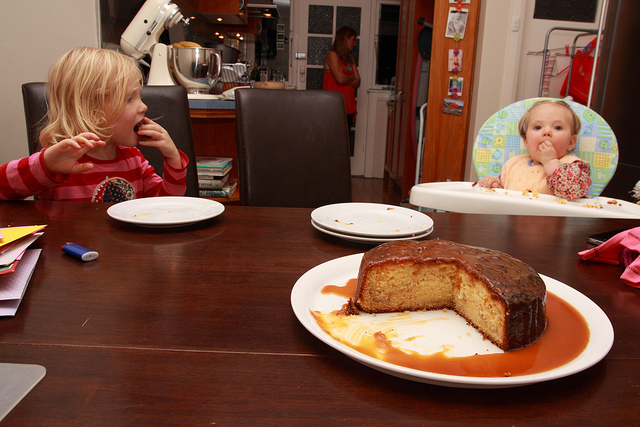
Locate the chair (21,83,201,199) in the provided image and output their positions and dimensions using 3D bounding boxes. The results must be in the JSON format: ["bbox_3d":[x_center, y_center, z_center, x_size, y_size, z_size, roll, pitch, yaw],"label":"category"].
[{"bbox_3d":[-0.751,-0.260,1.579,0.380,0.453,0.322,15,21,30],"label":"chair"}]

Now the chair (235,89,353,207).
[{"bbox_3d":[-0.105,-0.260,1.914,0.456,0.791,0.458,0,7,-9],"label":"chair"}]

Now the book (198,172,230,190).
[{"bbox_3d":[-0.539,-0.170,2.338,0.085,0.066,0.208,13,26,28],"label":"book"}]

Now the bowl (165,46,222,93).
[{"bbox_3d":[-0.730,-0.840,2.618,0.293,0.258,0.350,-15,28,-43],"label":"bowl"}]
